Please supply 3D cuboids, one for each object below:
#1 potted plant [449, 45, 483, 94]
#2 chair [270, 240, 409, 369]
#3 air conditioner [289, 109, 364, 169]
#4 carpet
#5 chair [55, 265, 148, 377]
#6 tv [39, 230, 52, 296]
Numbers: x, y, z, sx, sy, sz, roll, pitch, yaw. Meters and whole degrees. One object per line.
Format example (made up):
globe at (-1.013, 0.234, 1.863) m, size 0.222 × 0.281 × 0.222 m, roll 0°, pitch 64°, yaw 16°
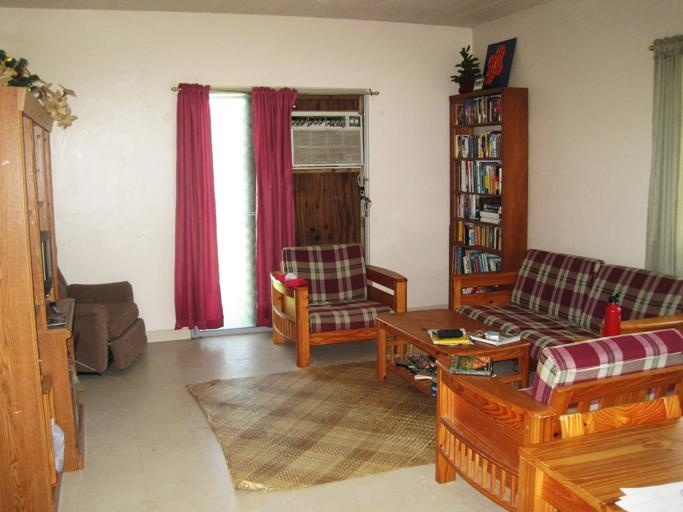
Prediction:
potted plant at (1.381, -2.008, 5.832) m, size 0.314 × 0.489 × 0.372 m, roll 3°, pitch 0°, yaw 10°
chair at (-0.035, 0.388, 4.961) m, size 1.138 × 0.908 × 1.011 m, roll -5°, pitch 10°, yaw -25°
air conditioner at (-0.199, -1.274, 5.701) m, size 0.729 × 0.504 × 0.226 m, roll -2°, pitch 5°, yaw -17°
carpet at (-0.143, 1.130, 3.937) m, size 1.961 × 0.085 × 2.185 m, roll 5°, pitch 9°, yaw -18°
chair at (-1.984, 0.533, 4.777) m, size 0.948 × 0.889 × 0.840 m, roll -1°, pitch 8°, yaw -13°
tv at (-1.735, 0.093, 3.118) m, size 0.037 × 0.328 × 0.156 m, roll -7°, pitch -31°, yaw -25°
